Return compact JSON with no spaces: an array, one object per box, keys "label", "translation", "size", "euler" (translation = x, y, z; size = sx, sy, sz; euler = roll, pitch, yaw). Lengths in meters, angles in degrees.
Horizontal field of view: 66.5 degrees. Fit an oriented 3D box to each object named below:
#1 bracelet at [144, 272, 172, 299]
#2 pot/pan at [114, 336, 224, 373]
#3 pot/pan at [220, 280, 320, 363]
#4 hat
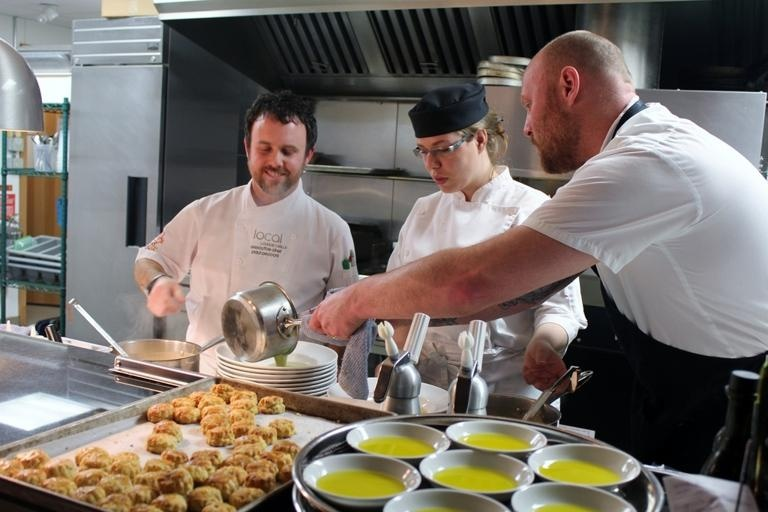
[{"label":"bracelet","translation":[-0.931,0.120,2.414],"size":[0.069,0.086,0.091],"euler":[26,31,22]},{"label":"pot/pan","translation":[-0.717,0.320,1.981],"size":[0.329,0.108,0.159],"euler":[2,1,-29]},{"label":"pot/pan","translation":[-0.360,0.184,1.825],"size":[0.269,0.205,0.201],"euler":[17,20,36]},{"label":"hat","translation":[0.257,-0.586,2.322],"size":[0.272,0.129,0.207],"euler":[-28,28,-31]}]
